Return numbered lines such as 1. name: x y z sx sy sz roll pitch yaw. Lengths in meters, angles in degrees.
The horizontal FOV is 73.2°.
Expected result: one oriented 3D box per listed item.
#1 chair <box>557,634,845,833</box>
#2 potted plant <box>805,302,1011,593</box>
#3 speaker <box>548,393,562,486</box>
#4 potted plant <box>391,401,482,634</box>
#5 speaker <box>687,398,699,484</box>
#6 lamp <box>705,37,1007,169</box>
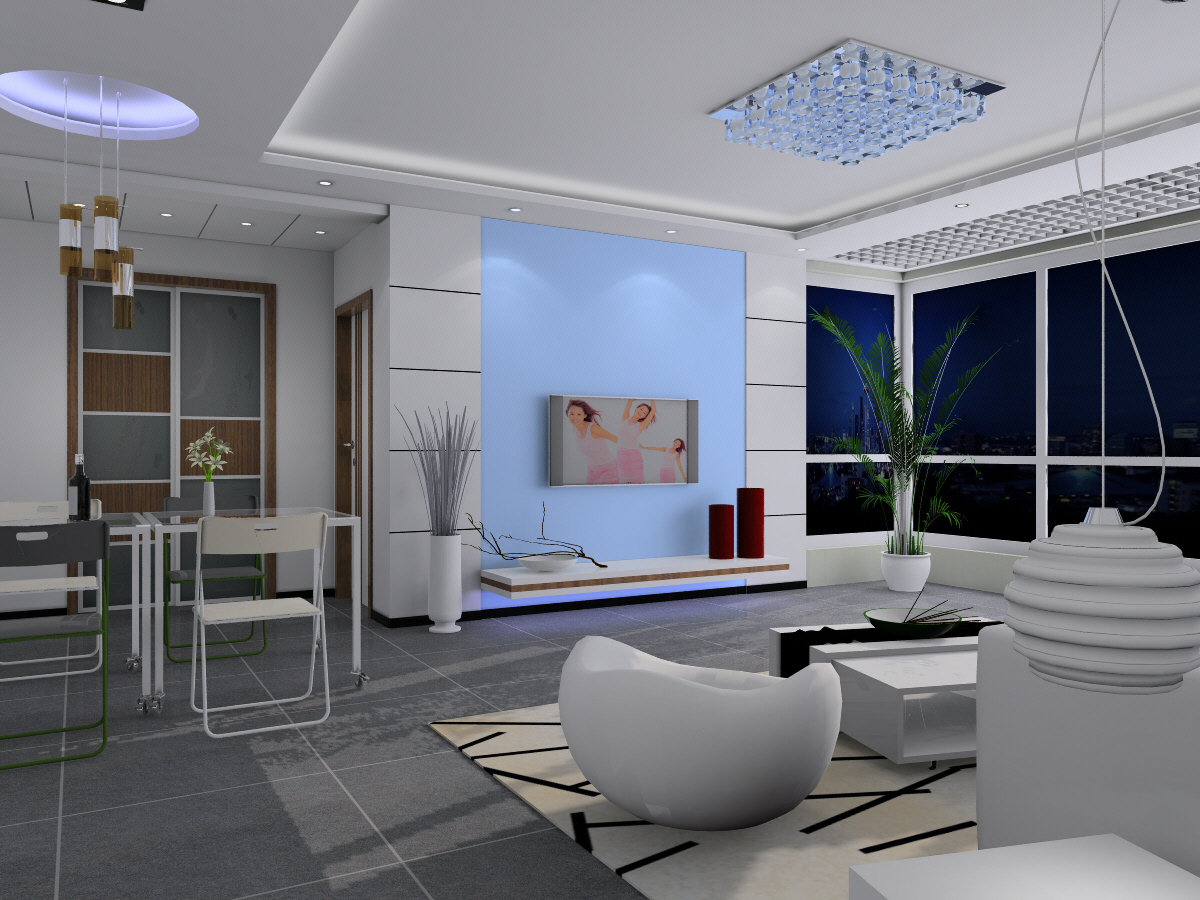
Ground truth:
1. chair: 0.410 0.998 2.886 0.649 0.477 0.836 4 -3 -44
2. potted plant: 3.379 -0.039 8.260 2.283 3.083 2.513 -1 -2 2
3. speaker: -0.357 -0.073 6.580 0.133 0.716 0.070 0 2 -7
4. potted plant: -1.165 0.494 6.029 0.559 1.665 0.491 0 2 -16
5. speaker: 0.836 -0.074 7.182 0.053 0.731 0.162 2 2 40
6. lamp: 1.393 -1.868 4.391 1.507 0.328 0.880 0 2 11
